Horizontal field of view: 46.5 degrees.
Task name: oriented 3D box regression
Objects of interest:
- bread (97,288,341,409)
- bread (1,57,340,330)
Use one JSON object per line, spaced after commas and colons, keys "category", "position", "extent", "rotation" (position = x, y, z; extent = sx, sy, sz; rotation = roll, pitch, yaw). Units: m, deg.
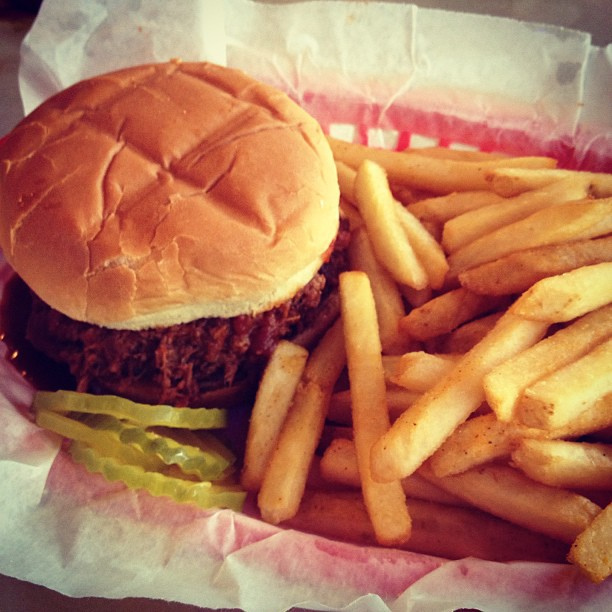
{"category": "bread", "position": [-0.250, 0.245, 2.600], "extent": [0.623, 0.214, 0.600], "rotation": [-11, 31, 4]}
{"category": "bread", "position": [-0.489, -0.328, 2.575], "extent": [1.049, 0.255, 0.928], "rotation": [26, 74, 5]}
